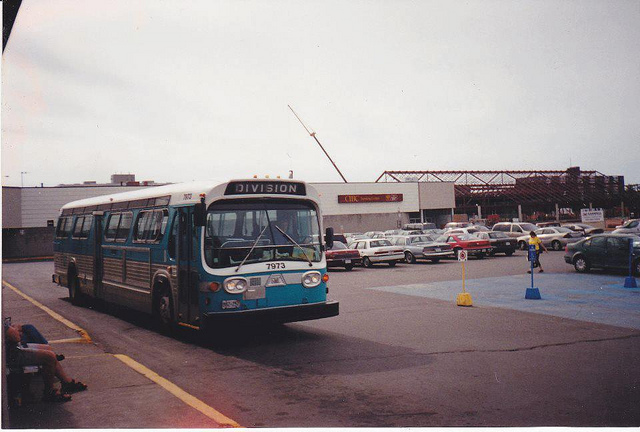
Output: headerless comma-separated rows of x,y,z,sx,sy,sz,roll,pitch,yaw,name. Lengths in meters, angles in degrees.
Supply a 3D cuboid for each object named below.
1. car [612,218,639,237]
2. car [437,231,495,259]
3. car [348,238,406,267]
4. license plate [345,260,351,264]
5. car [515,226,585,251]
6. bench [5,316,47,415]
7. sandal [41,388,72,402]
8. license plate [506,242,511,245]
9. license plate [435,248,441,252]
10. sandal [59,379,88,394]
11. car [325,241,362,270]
23.233,0.833,39.259,1.726,0.884,1.024,1,-6,-6,car
9.602,2.015,33.245,2.799,1.601,2.788,-1,1,16,car
3.506,2.095,31.274,1.635,0.946,2.934,-2,4,-27,car
1.641,2.688,29.920,0.292,0.286,0.154,1,-7,-2,license plate
15.182,1.498,34.085,1.670,1.172,3.582,-1,4,-29,car
-4.957,2.701,8.709,0.576,0.848,1.401,-2,2,-31,bench
-4.362,3.014,8.640,0.500,0.212,0.166,1,0,-8,sandal
12.401,1.809,33.985,0.205,0.198,0.053,0,-6,6,license plate
7.268,2.082,31.711,0.320,0.312,0.170,2,-8,-3,license plate
-4.142,2.932,8.832,0.533,0.259,0.184,1,2,-13,sandal
1.340,2.239,29.947,1.503,0.928,2.916,-2,4,-17,car
